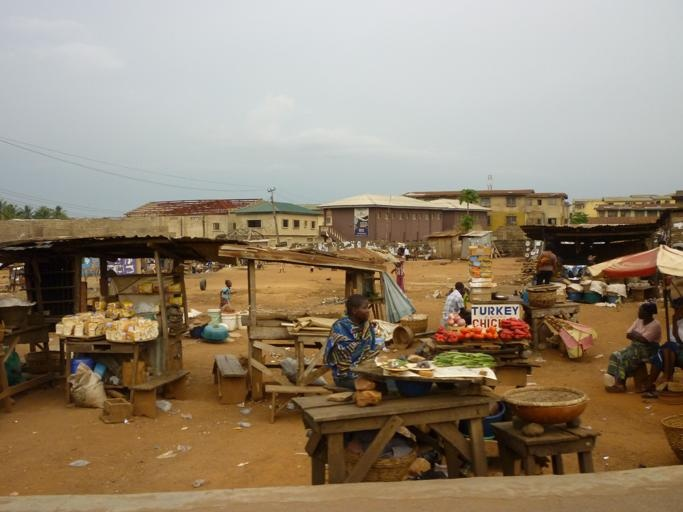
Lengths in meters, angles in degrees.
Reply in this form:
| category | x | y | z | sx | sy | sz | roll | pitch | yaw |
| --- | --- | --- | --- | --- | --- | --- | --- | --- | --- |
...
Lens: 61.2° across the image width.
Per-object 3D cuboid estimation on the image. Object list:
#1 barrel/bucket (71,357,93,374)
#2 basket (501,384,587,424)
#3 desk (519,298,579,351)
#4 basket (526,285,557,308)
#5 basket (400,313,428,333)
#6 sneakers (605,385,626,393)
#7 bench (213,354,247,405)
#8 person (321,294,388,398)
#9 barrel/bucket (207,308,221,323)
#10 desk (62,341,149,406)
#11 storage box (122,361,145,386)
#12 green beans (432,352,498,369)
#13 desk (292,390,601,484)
| category | x | y | z | sx | sy | sz | roll | pitch | yaw |
| --- | --- | --- | --- | --- | --- | --- | --- | --- | --- |
| barrel/bucket | -5.036 | 2.141 | 11.295 | 0.435 | 0.215 | 0.431 | 1 | -2 | 0 |
| basket | 2.494 | 1.858 | 7.055 | 0.947 | 0.374 | 0.737 | -1 | 5 | 12 |
| desk | 5.643 | 1.741 | 15.192 | 1.770 | 1.059 | 1.420 | -3 | 8 | -15 |
| basket | 5.150 | 1.014 | 14.877 | 0.836 | 0.381 | 0.756 | -1 | -1 | -45 |
| basket | 2.170 | 1.980 | 16.955 | 0.721 | 0.314 | 0.605 | 0 | -4 | -7 |
| sneakers | 5.349 | 2.574 | 11.215 | 0.449 | 0.117 | 0.128 | -1 | 0 | 0 |
| bench | -2.416 | 2.526 | 12.205 | 0.677 | 0.421 | 1.919 | -9 | 6 | -17 |
| person | 0.135 | 1.168 | 7.796 | 0.743 | 1.296 | 0.656 | -4 | 6 | -1 |
| barrel/bucket | -3.992 | 1.921 | 18.173 | 0.542 | 0.313 | 0.423 | 0 | 1 | -10 |
| desk | -4.813 | 2.218 | 11.129 | 1.247 | 1.011 | 1.532 | -34 | -31 | 34 |
| storage box | -3.990 | 2.225 | 11.059 | 0.442 | 0.505 | 0.282 | 0 | 8 | 35 |
| green beans | 1.545 | 1.316 | 7.336 | 0.767 | 0.084 | 0.646 | -1 | 4 | 7 |
| desk | 1.301 | 2.208 | 7.032 | 2.583 | 0.764 | 0.675 | -1 | 4 | -9 |
